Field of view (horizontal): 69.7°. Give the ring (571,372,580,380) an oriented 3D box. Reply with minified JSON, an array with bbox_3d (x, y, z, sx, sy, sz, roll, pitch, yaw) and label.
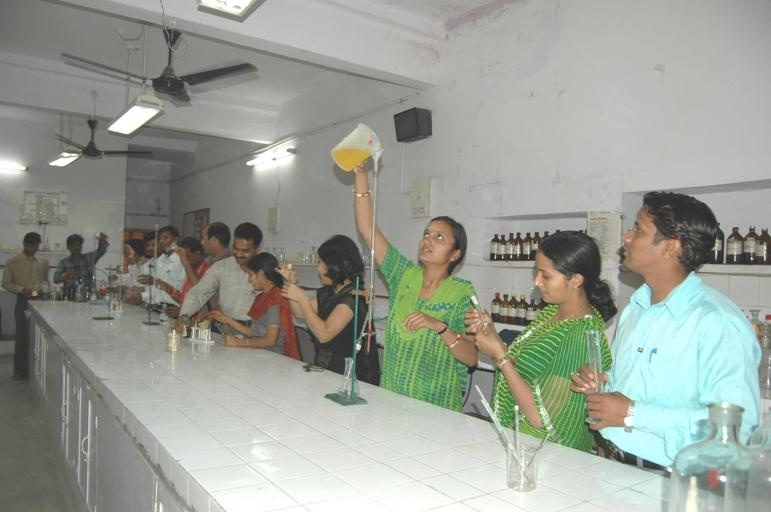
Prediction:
[{"bbox_3d":[0.796,0.506,2.313,0.027,0.020,0.027,-1,-9,0],"label":"ring"}]

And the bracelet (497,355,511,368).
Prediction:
[{"bbox_3d":[0.520,0.467,2.423,0.053,0.057,0.055,14,9,22],"label":"bracelet"}]

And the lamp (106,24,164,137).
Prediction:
[{"bbox_3d":[-2.465,-1.754,5.399,0.409,0.982,1.142,3,-2,-39],"label":"lamp"}]

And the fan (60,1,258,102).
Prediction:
[{"bbox_3d":[-1.877,-1.630,5.067,1.520,0.588,1.339,-3,9,-25],"label":"fan"}]

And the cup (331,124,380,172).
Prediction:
[{"bbox_3d":[-0.128,-0.545,2.789,0.275,0.220,0.130,11,13,43],"label":"cup"}]

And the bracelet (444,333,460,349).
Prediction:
[{"bbox_3d":[0.345,0.436,2.842,0.070,0.027,0.062,-32,-6,14],"label":"bracelet"}]

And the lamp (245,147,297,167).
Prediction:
[{"bbox_3d":[-1.530,-1.331,7.436,0.177,0.268,1.149,-5,11,-34],"label":"lamp"}]

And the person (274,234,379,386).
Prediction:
[{"bbox_3d":[-0.339,0.654,3.557,0.581,1.485,0.547,-1,12,-14],"label":"person"}]

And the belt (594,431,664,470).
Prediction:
[{"bbox_3d":[1.069,0.869,2.480,0.270,0.122,0.257,2,2,45],"label":"belt"}]

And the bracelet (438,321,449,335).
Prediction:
[{"bbox_3d":[0.293,0.362,2.788,0.015,0.057,0.057,38,-13,-18],"label":"bracelet"}]

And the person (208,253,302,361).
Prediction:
[{"bbox_3d":[-0.889,0.378,3.861,0.750,0.882,0.538,-1,14,-11],"label":"person"}]
